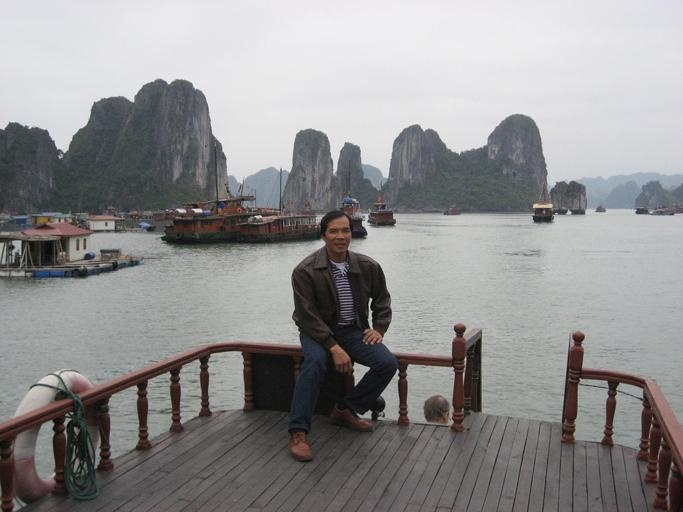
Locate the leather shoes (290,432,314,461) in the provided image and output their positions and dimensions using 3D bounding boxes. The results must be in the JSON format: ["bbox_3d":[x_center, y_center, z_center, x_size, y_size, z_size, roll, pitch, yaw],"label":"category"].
[{"bbox_3d":[-0.393,1.859,6.195,0.223,0.233,0.205,-2,7,-7],"label":"leather shoes"}]

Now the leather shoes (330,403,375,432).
[{"bbox_3d":[0.107,1.704,6.847,0.509,0.261,0.186,10,19,23],"label":"leather shoes"}]
